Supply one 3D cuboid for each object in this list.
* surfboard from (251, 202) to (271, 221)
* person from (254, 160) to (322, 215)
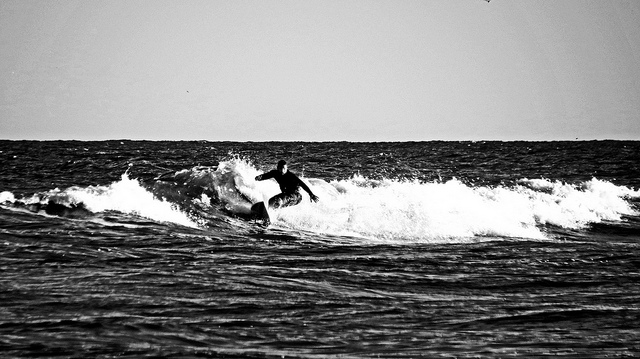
[{"bbox_3d":[-1.739,0.886,23.938,0.484,0.437,0.509,-13,-24,-10],"label":"surfboard"},{"bbox_3d":[-0.863,0.230,24.357,1.621,1.522,0.932,3,1,0],"label":"person"}]
